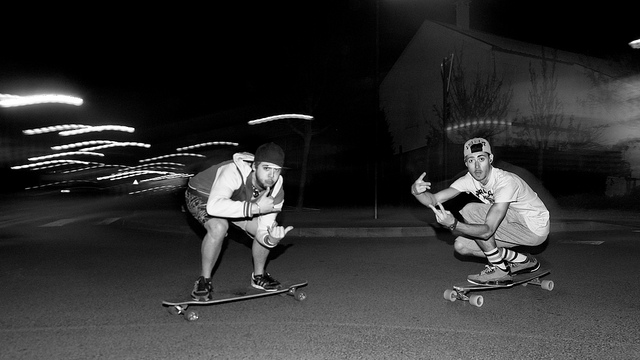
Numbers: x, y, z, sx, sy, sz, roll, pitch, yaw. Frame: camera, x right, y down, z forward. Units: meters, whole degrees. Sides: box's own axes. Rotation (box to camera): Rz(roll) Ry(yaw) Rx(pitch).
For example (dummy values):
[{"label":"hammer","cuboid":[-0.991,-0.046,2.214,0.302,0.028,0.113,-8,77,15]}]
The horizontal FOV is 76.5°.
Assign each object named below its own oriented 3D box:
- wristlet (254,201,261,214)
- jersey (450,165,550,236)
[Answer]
[{"label":"wristlet","cuboid":[-1.076,0.513,6.996,0.112,0.132,0.018,8,1,-3]},{"label":"jersey","cuboid":[3.517,0.430,7.821,1.609,1.452,0.839,-1,6,19]}]
